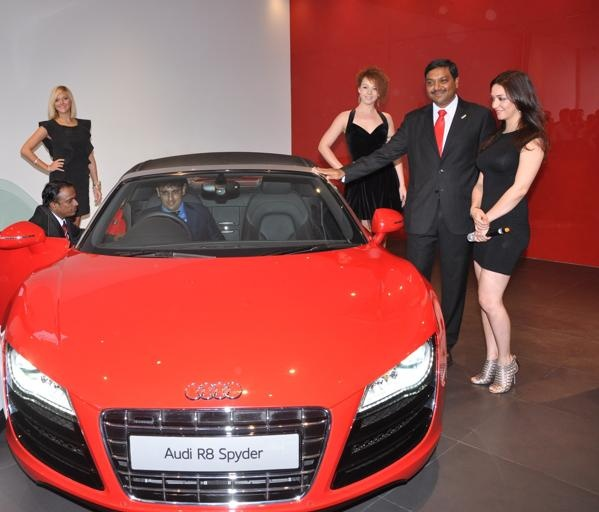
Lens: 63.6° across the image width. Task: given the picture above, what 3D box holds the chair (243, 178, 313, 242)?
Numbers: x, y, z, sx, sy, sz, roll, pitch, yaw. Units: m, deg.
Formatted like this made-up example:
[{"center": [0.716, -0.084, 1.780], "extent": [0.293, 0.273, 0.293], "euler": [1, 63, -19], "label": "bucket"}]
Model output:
[{"center": [-0.109, -0.250, 2.390], "extent": [0.266, 0.391, 0.319], "euler": [-1, 14, -1], "label": "chair"}]

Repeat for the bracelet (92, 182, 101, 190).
[{"center": [-2.169, -0.754, 5.181], "extent": [0.076, 0.065, 0.103], "euler": [2, -4, -33], "label": "bracelet"}]

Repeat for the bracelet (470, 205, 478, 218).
[{"center": [0.942, -0.241, 2.585], "extent": [0.043, 0.062, 0.045], "euler": [-2, -12, 14], "label": "bracelet"}]

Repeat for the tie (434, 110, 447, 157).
[{"center": [0.850, -0.742, 2.878], "extent": [0.072, 0.235, 0.046], "euler": [4, 10, 26], "label": "tie"}]

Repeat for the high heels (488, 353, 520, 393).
[{"center": [1.172, 0.646, 2.724], "extent": [0.096, 0.116, 0.275], "euler": [-12, 26, 44], "label": "high heels"}]

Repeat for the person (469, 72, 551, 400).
[{"center": [1.099, -0.099, 2.592], "extent": [0.372, 1.699, 0.323], "euler": [5, 11, 30], "label": "person"}]

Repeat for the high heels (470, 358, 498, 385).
[{"center": [1.092, 0.672, 2.801], "extent": [0.073, 0.102, 0.223], "euler": [1, 4, 43], "label": "high heels"}]
